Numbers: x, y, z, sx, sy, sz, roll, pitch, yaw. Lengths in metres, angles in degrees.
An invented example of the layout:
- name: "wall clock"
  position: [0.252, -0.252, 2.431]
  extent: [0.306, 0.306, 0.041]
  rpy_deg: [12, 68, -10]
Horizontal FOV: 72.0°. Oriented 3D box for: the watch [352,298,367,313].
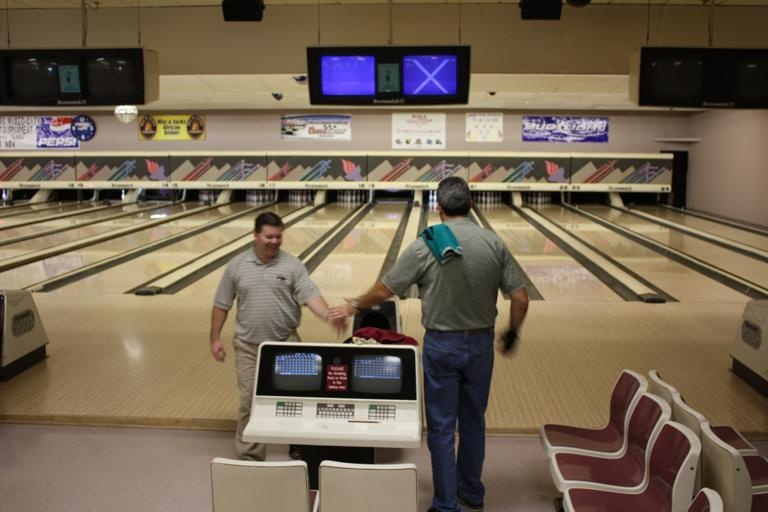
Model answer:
- name: "watch"
  position: [-0.136, 0.264, 2.860]
  extent: [0.021, 0.065, 0.063]
  rpy_deg: [-22, 11, -37]
